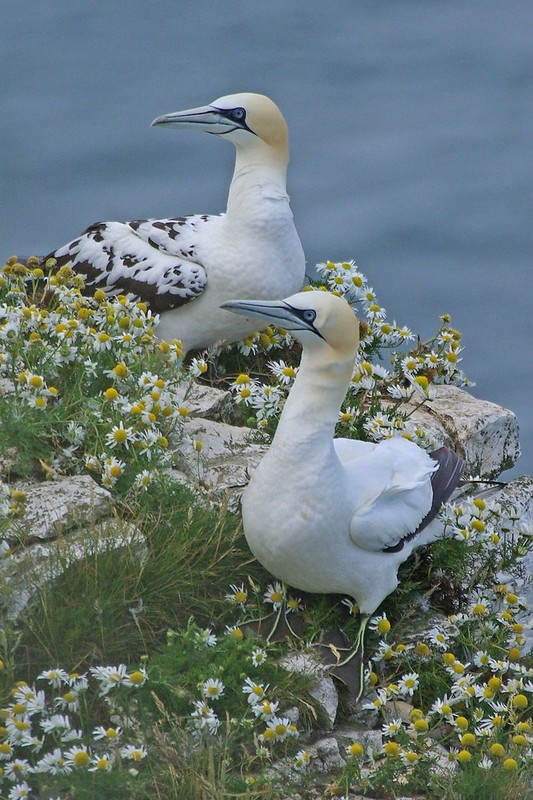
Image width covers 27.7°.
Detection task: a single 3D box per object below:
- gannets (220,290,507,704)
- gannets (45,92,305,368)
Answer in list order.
[{"bbox_3d":[0.441,0.307,4.932,1.368,1.550,1.003,3,17,2],"label":"gannets"},{"bbox_3d":[-0.677,-1.205,7.161,2.343,1.553,1.298,9,30,32],"label":"gannets"}]
